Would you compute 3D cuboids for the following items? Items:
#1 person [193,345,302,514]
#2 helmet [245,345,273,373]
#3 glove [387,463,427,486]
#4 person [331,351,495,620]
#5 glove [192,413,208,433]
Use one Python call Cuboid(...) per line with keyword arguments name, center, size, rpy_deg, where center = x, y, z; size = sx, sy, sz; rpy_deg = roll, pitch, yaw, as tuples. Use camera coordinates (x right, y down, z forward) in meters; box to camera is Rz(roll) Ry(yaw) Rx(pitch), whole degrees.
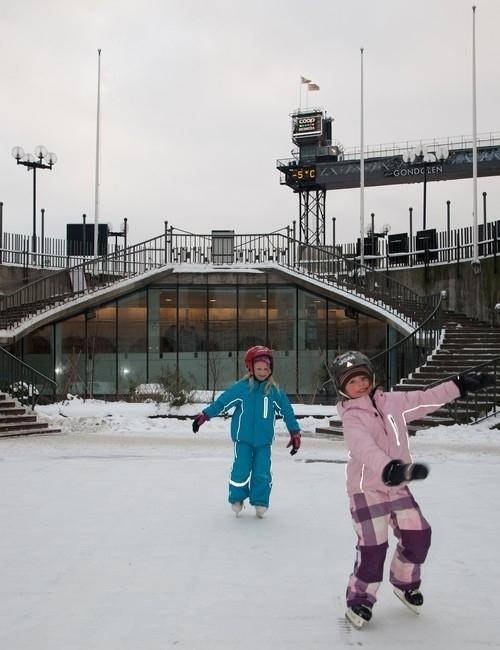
Cuboid(name="person", center=(-0.012, 0.917, 9.862), size=(0.862, 1.453, 0.852), rpy_deg=(-1, 0, 2))
Cuboid(name="helmet", center=(0.072, 0.256, 9.834), size=(0.169, 0.245, 0.247), rpy_deg=(9, -34, -20))
Cuboid(name="glove", center=(0.895, 0.858, 6.477), size=(0.175, 0.159, 0.261), rpy_deg=(-2, -3, -33))
Cuboid(name="person", center=(0.907, 0.995, 6.992), size=(0.721, 1.672, 0.867), rpy_deg=(-1, 0, -18))
Cuboid(name="glove", center=(-0.423, 0.849, 9.669), size=(0.120, 0.158, 0.388), rpy_deg=(-2, 0, -7))
